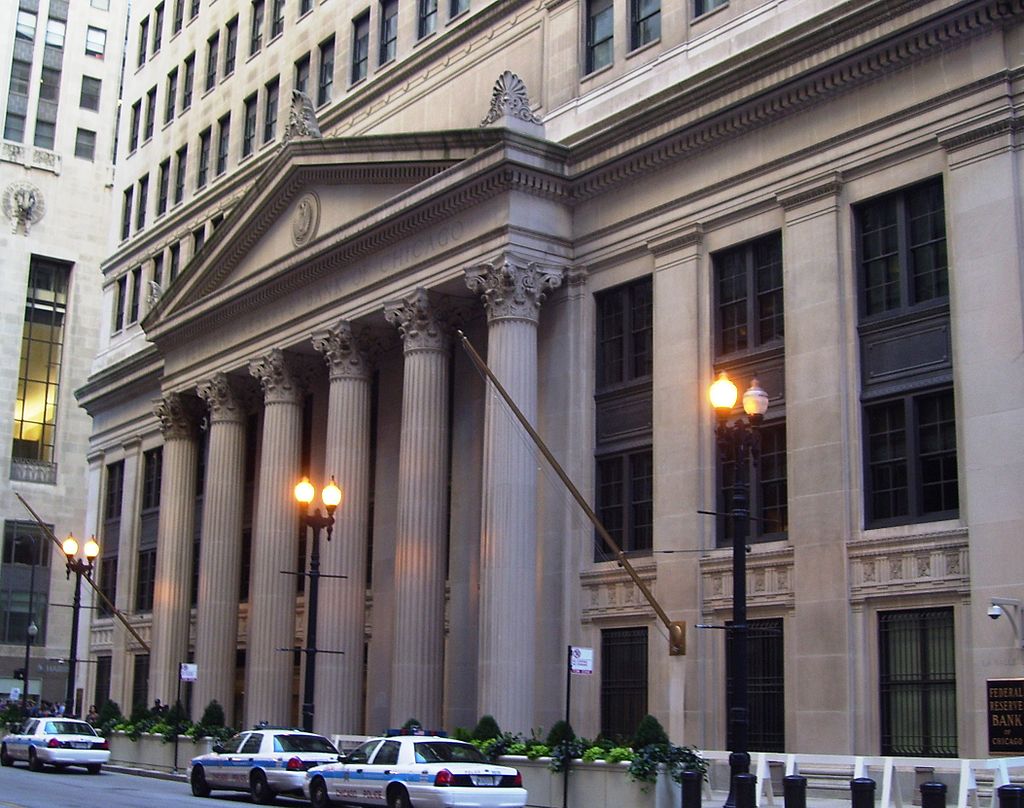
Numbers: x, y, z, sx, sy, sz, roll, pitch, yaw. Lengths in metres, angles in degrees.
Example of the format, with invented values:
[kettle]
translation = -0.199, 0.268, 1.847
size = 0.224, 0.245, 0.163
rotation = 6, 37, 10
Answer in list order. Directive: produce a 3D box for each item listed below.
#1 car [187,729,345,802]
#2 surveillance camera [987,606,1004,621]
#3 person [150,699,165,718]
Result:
[car]
translation = -6.297, 9.032, 36.431
size = 1.836, 1.440, 3.818
rotation = 16, -23, -38
[surveillance camera]
translation = 10.440, 4.546, 31.061
size = 0.260, 0.315, 0.287
rotation = 2, 0, -3
[person]
translation = -12.528, 10.883, 51.025
size = 0.334, 0.906, 0.502
rotation = 1, -29, -7
